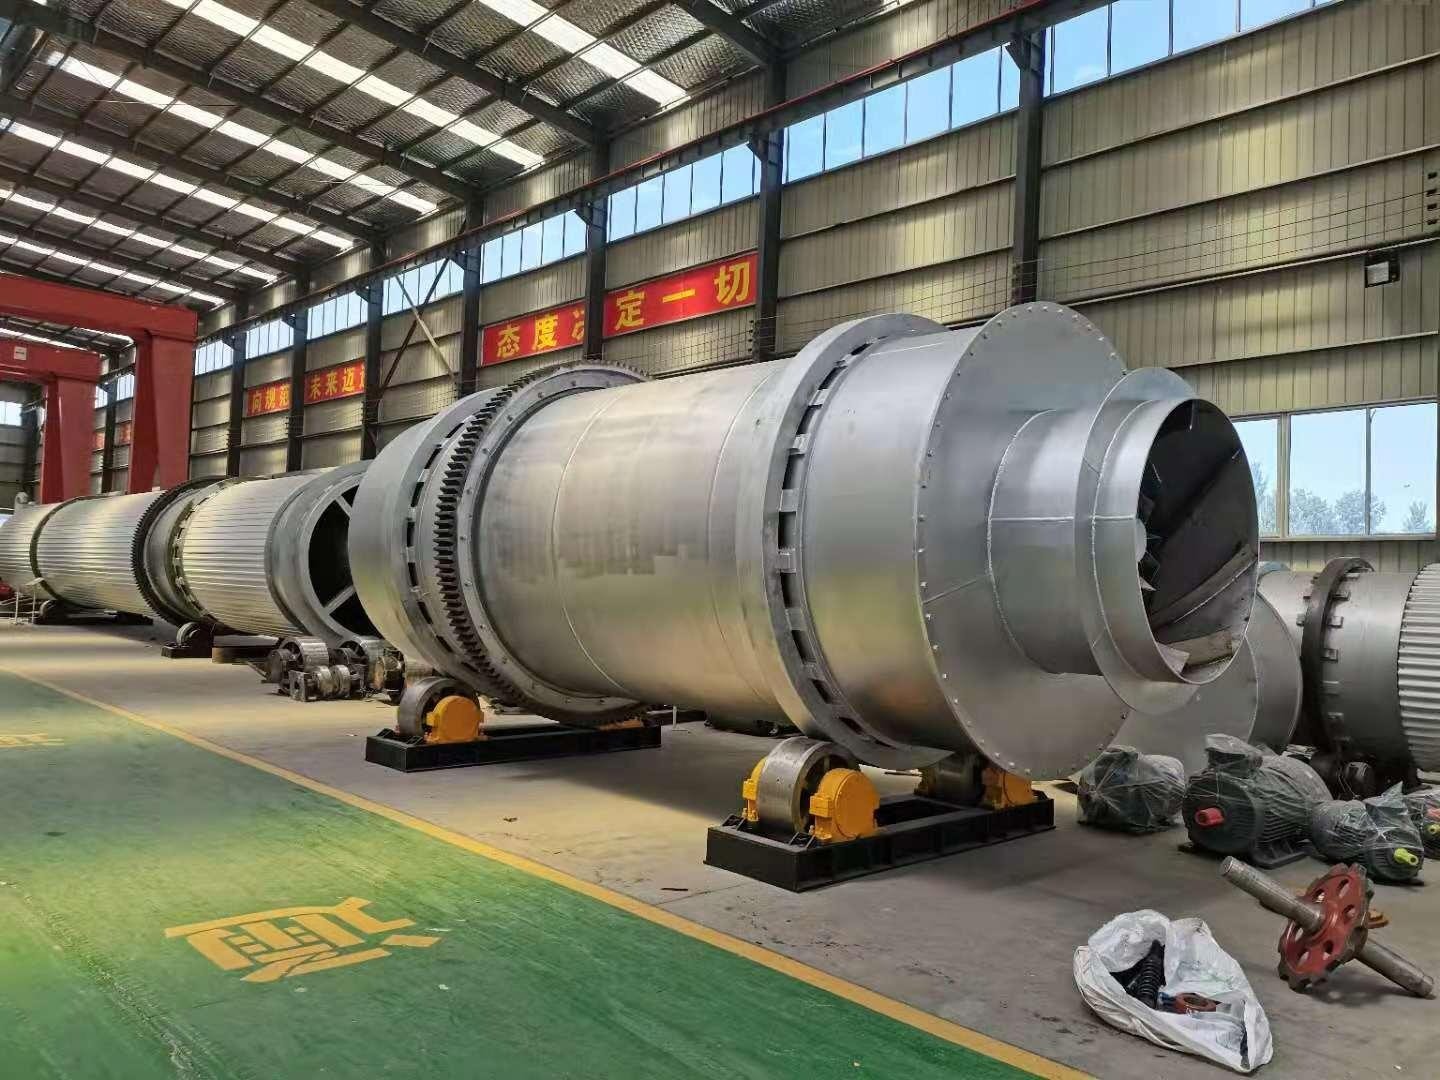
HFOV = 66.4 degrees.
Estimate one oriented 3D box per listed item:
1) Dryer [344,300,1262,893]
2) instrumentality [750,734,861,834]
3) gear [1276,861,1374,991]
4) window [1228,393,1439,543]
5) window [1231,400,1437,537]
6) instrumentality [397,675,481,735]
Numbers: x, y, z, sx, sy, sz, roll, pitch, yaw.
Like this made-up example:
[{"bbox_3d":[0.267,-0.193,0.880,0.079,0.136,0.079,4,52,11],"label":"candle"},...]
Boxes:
[{"bbox_3d":[0.539,0.171,8.075,3.929,2.903,7.641,1,-1,-35],"label":"Dryer"},{"bbox_3d":[0.436,1.262,5.611,0.651,0.479,0.348,4,-2,-40],"label":"instrumentality"},{"bbox_3d":[2.541,1.662,4.673,0.214,0.430,0.455,33,17,-4],"label":"gear"},{"bbox_3d":[6.296,-0.726,11.210,2.170,1.195,0.094,-2,0,41],"label":"window"},{"bbox_3d":[6.334,-0.722,11.277,2.022,1.107,0.164,-1,0,41],"label":"window"},{"bbox_3d":[-1.922,1.161,7.630,0.454,0.363,0.226,25,-9,-33],"label":"instrumentality"}]
